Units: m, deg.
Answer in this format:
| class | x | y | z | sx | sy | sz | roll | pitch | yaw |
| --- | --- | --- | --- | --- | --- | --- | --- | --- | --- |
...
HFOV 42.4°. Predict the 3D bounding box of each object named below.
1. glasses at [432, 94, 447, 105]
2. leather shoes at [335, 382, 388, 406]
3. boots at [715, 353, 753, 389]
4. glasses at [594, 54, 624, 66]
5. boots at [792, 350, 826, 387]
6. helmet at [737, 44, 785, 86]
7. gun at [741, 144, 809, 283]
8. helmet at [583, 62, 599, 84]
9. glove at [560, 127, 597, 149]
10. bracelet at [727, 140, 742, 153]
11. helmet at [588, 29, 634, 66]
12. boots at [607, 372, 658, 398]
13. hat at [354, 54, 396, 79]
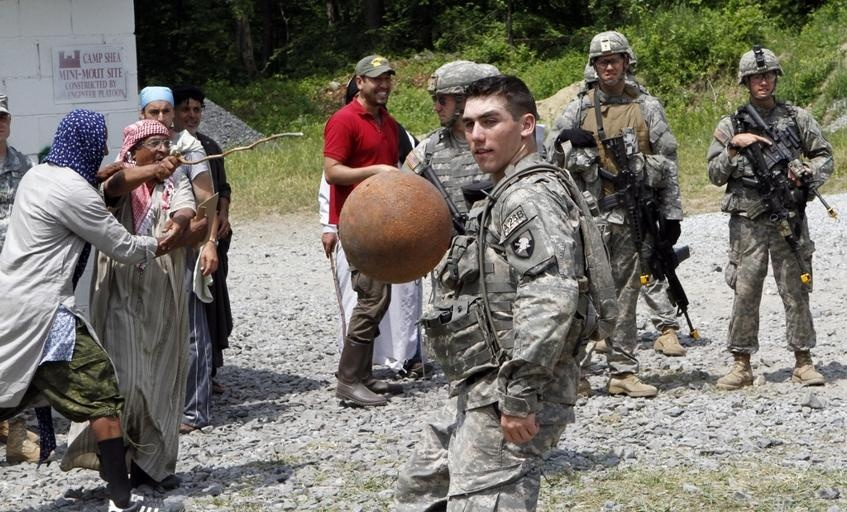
| class | x | y | z | sx | sy | sz | roll | pitch | yaw |
| --- | --- | --- | --- | --- | --- | --- | --- | --- | --- |
| glasses | 0.165 | -1.528 | 10.591 | 0.103 | 0.053 | 0.108 | 3 | -9 | -34 |
| leather shoes | -0.671 | 1.479 | 11.953 | 0.575 | 0.253 | 0.220 | 1 | 5 | 14 |
| boots | 3.378 | 1.243 | 11.912 | 0.542 | 0.378 | 0.196 | -5 | 6 | -34 |
| glasses | 2.005 | -2.117 | 11.795 | 0.154 | 0.064 | 0.179 | -4 | -17 | 1 |
| boots | 4.168 | 1.217 | 11.890 | 0.212 | 0.386 | 0.562 | 0 | -1 | -7 |
| helmet | 3.596 | -2.064 | 11.819 | 0.468 | 0.350 | 0.469 | -13 | 8 | -13 |
| gun | 3.756 | -0.487 | 11.742 | 0.432 | 1.450 | 0.224 | -25 | -2 | 42 |
| helmet | 1.916 | -2.017 | 12.146 | 0.203 | 0.262 | 0.259 | 2 | 6 | 6 |
| glove | 1.665 | -1.273 | 11.886 | 0.234 | 0.127 | 0.289 | 7 | -4 | -41 |
| bracelet | 3.352 | -1.186 | 11.791 | 0.106 | 0.052 | 0.122 | 30 | -9 | -17 |
| helmet | 2.050 | -2.272 | 11.919 | 0.535 | 0.328 | 0.563 | -12 | 7 | -24 |
| boots | 2.253 | 1.381 | 11.793 | 0.538 | 0.254 | 0.223 | 0 | 5 | 12 |
| hat | -0.520 | -2.037 | 11.725 | 0.418 | 0.251 | 0.361 | -3 | 7 | -3 |
